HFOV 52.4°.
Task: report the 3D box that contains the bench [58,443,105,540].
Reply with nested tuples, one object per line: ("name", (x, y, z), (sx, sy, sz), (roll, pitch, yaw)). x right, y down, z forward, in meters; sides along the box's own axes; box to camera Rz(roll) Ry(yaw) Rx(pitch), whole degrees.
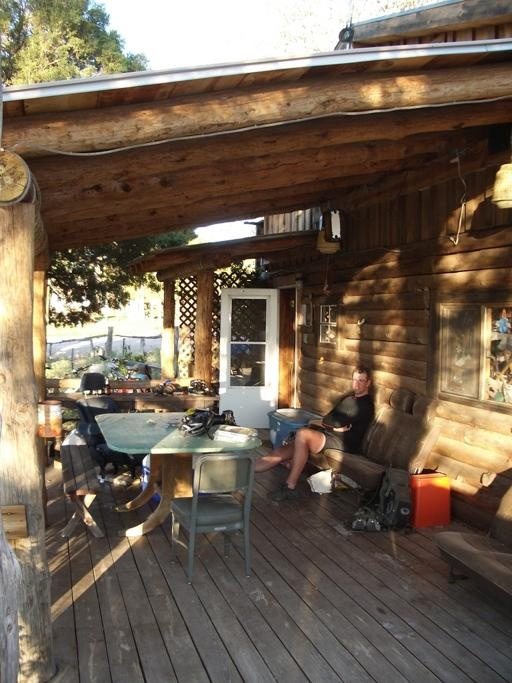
("bench", (-1.490, 1.177, 4.283), (0.329, 0.312, 1.391), (5, 2, -24))

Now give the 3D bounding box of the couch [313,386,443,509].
("couch", (1.071, 0.858, 4.803), (0.767, 0.817, 1.051), (-1, 5, -21))

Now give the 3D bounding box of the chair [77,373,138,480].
("chair", (-1.501, 0.869, 5.477), (0.663, 1.105, 0.672), (-5, -3, 10))

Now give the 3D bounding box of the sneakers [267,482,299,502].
("sneakers", (0.255, 1.446, 5.000), (0.288, 0.183, 0.132), (0, 4, -8))

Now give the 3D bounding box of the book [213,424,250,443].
("book", (-0.172, 0.683, 3.820), (0.292, 0.089, 0.424), (1, -1, -1))

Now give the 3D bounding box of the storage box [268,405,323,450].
("storage box", (0.456, 1.052, 6.389), (0.646, 0.435, 0.449), (2, 2, -33))

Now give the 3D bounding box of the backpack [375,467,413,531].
("backpack", (1.087, 1.258, 4.120), (0.206, 0.351, 0.285), (2, -1, -9))

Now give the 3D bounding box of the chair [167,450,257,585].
("chair", (-0.310, 1.106, 3.462), (0.562, 0.783, 0.584), (2, -3, 0))
